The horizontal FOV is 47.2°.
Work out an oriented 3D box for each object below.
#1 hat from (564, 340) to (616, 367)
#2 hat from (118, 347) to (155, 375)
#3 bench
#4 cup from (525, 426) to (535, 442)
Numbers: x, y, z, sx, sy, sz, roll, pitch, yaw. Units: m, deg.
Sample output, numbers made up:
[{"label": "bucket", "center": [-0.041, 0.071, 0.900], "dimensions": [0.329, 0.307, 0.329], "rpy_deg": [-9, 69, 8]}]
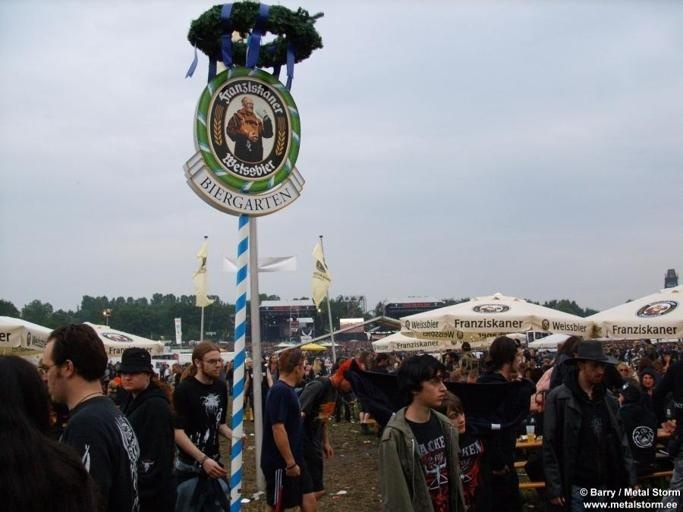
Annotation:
[{"label": "hat", "center": [2.665, 1.059, 8.567], "dimensions": [0.467, 0.199, 0.506], "rpy_deg": [5, -12, -15]}, {"label": "hat", "center": [-2.090, 1.075, 7.989], "dimensions": [0.262, 0.155, 0.298], "rpy_deg": [2, 3, 8]}, {"label": "bench", "center": [3.446, 2.933, 11.228], "dimensions": [2.563, 0.847, 2.185], "rpy_deg": [1, -14, -6]}, {"label": "cup", "center": [2.546, 2.374, 10.520], "dimensions": [0.101, 0.204, 0.157], "rpy_deg": [-3, -14, 9]}]
